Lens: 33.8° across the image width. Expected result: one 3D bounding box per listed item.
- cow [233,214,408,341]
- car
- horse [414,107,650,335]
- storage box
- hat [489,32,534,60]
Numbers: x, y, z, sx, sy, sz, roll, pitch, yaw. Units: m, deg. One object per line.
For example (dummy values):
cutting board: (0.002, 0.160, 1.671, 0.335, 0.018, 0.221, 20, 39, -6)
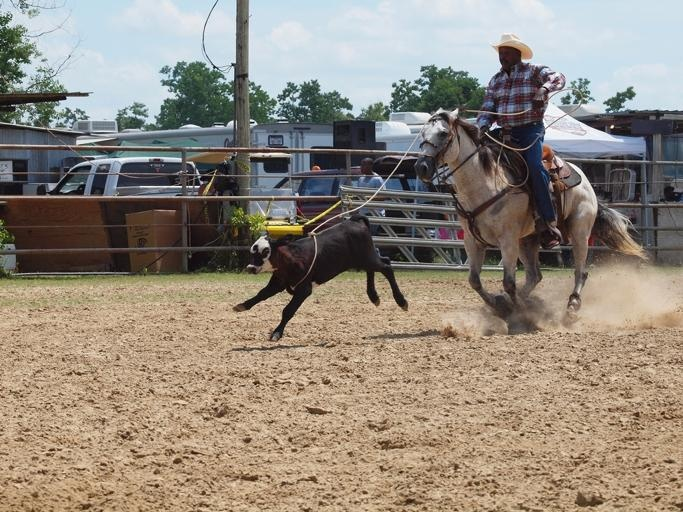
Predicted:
cow: (-0.261, 0.214, 12.213, 1.696, 1.316, 0.535, -3, 5, -38)
car: (0.354, -0.881, 19.427, 3.257, 1.210, 1.573, 16, 6, 25)
horse: (2.316, -0.341, 13.380, 1.068, 2.001, 4.541, -7, -9, 42)
storage box: (-2.930, -0.247, 17.652, 0.868, 0.968, 0.868, -1, 4, -9)
hat: (1.948, -2.382, 12.738, 0.404, 0.250, 0.455, 0, 3, 6)
